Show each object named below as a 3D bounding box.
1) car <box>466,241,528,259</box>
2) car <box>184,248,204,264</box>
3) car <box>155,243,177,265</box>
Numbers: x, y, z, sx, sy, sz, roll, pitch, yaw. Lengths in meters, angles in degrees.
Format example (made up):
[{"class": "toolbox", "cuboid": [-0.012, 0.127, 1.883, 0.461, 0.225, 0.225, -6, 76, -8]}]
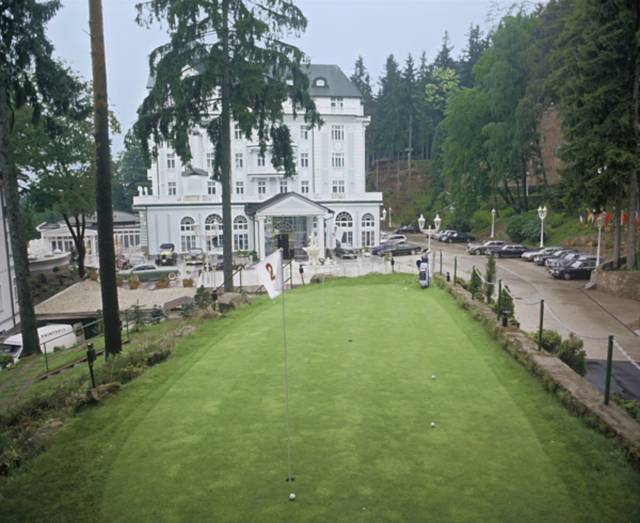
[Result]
[{"class": "car", "cuboid": [16.592, -0.926, 60.657, 5.306, 1.230, 3.539, -1, 7, 34]}, {"class": "car", "cuboid": [-11.517, -0.393, 60.490, 1.081, 1.162, 1.993, -1, -1, -6]}, {"class": "car", "cuboid": [-14.242, -0.668, 59.829, 1.480, 2.066, 3.114, -1, 1, -5]}]
